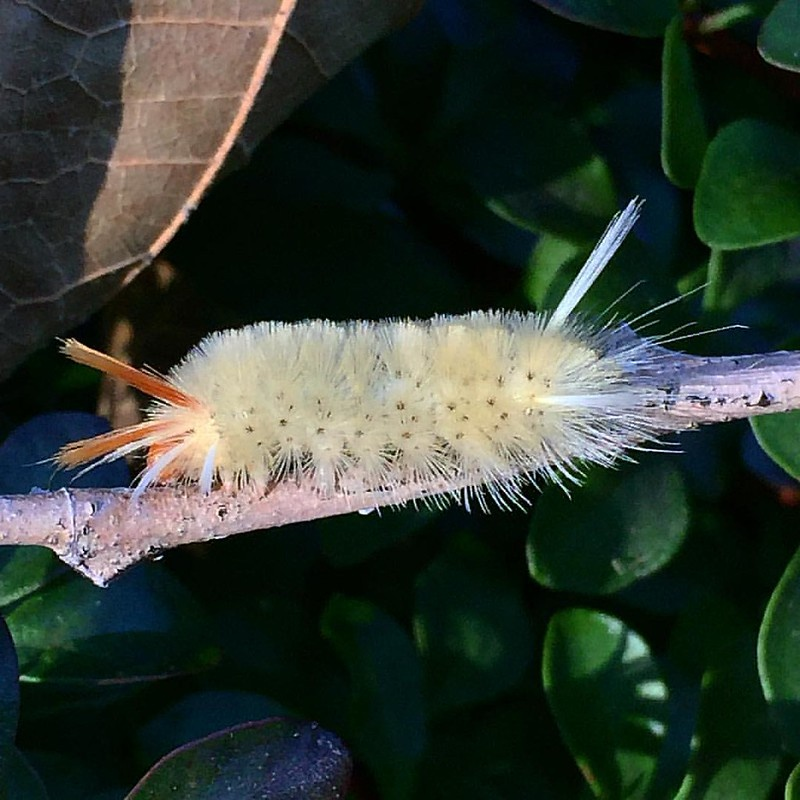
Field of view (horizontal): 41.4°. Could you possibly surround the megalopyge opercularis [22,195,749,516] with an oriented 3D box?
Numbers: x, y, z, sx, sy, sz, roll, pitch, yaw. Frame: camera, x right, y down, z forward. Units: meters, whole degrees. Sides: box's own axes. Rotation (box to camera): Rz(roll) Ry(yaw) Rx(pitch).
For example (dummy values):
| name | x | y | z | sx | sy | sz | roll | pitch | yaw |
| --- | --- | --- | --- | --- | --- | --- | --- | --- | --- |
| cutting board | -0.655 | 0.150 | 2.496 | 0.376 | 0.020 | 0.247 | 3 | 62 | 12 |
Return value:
| name | x | y | z | sx | sy | sz | roll | pitch | yaw |
| --- | --- | --- | --- | --- | --- | --- | --- | --- | --- |
| megalopyge opercularis | -0.014 | 0.000 | 1.085 | 0.649 | 0.129 | 0.250 | -15 | 83 | -4 |
